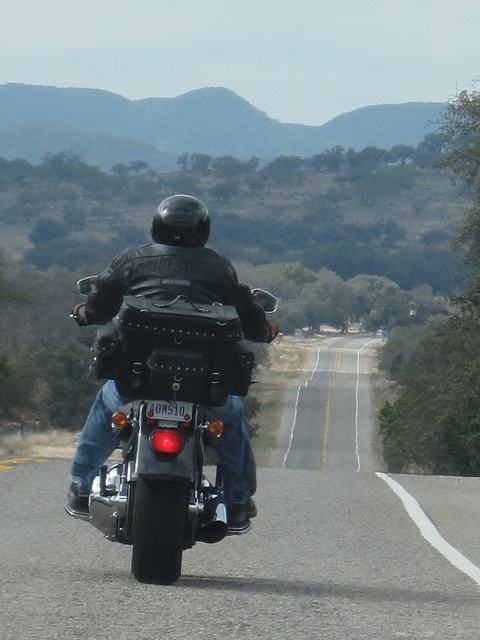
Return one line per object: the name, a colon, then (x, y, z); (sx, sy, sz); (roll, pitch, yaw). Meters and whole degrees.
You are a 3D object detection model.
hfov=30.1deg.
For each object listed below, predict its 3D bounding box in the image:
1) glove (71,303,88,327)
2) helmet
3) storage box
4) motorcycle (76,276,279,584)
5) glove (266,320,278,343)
glove: (-0.982, -0.031, 5.391); (0.054, 0.107, 0.148); (24, -33, -19)
helmet: (-0.371, -0.595, 5.456); (0.337, 0.276, 0.349); (3, 5, -1)
storage box: (-0.327, 0.127, 4.743); (0.801, 0.488, 0.712); (-2, 14, -42)
motorcycle: (-0.366, 0.604, 4.664); (0.841, 1.524, 0.889); (-1, -5, 8)
glove: (0.201, 0.075, 5.671); (0.099, 0.106, 0.123); (9, 4, 9)
